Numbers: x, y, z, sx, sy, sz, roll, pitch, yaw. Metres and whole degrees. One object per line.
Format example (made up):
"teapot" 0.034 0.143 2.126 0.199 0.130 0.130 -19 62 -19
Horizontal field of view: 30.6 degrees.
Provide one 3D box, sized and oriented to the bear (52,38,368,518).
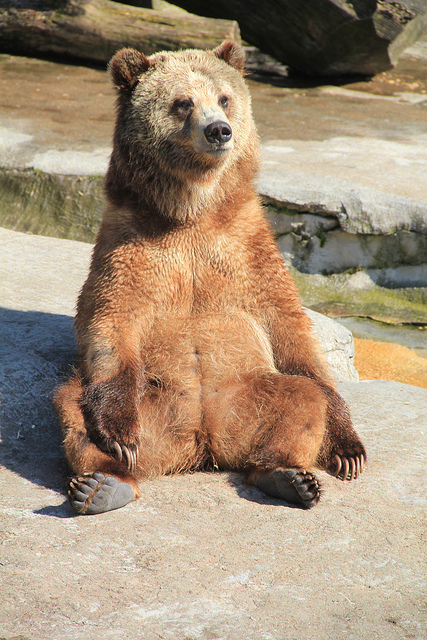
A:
"bear" -0.014 -0.230 2.794 1.022 1.594 1.230 1 16 -21
